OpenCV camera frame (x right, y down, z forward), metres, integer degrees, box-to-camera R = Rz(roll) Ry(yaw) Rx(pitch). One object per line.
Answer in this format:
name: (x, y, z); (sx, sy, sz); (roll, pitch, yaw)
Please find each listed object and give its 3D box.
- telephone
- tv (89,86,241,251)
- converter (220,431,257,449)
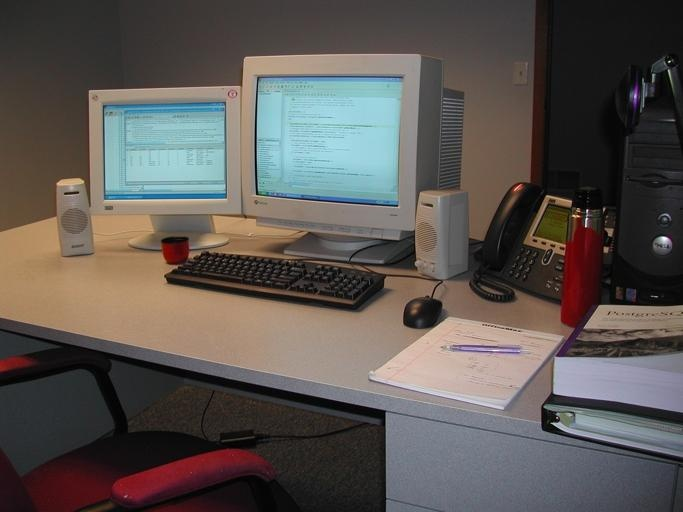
telephone: (0.490, -0.030, 1.347); (0.308, 0.187, 0.295); (-30, 34, -34)
tv: (-0.567, -0.292, 1.739); (0.505, 0.503, 0.215); (2, 15, 7)
converter: (-0.395, 0.697, 2.045); (0.116, 0.030, 0.107); (2, 20, -6)
